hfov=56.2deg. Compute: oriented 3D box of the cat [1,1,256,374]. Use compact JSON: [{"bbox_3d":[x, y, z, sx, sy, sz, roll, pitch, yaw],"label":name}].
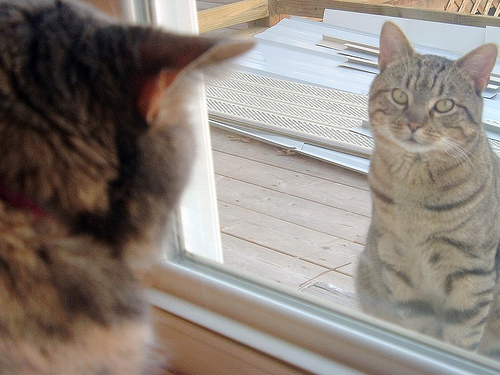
[{"bbox_3d":[-0.107,0.028,0.366,0.221,0.322,0.087,-1,34,-1],"label":"cat"}]
